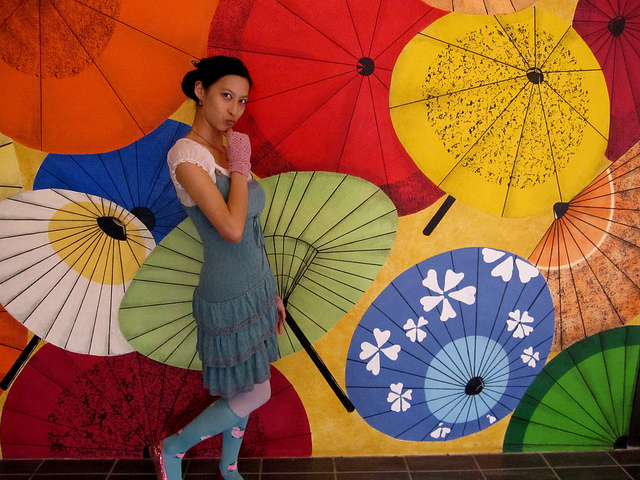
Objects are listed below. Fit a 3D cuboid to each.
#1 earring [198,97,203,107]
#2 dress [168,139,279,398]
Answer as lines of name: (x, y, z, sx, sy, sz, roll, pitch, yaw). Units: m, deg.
earring: (-0.462, -0.532, 2.496, 0.019, 0.022, 0.022, 3, 1, 1)
dress: (-0.354, 0.096, 2.526, 0.405, 0.947, 0.458, -15, -11, -15)
